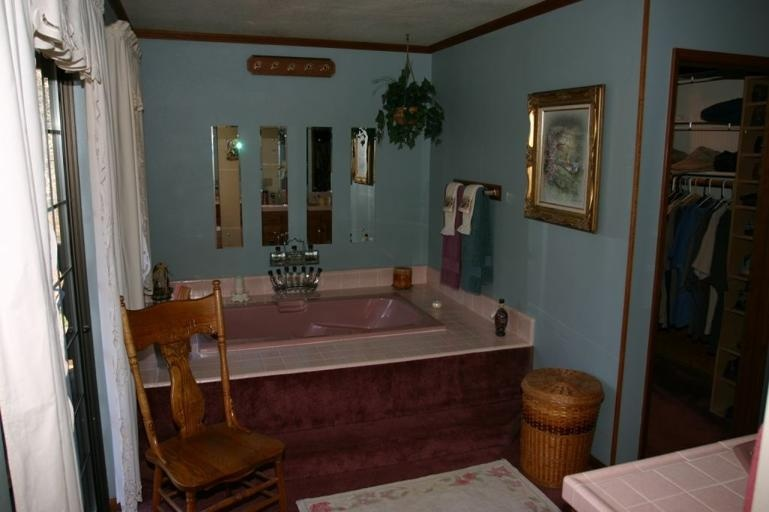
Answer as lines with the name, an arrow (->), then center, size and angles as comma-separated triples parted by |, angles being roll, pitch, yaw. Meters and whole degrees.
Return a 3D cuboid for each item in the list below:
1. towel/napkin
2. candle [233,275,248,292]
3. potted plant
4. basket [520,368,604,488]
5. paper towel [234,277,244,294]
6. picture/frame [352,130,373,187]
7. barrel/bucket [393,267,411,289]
towel/napkin -> 0.691, -0.172, 4.617 | 0.181, 0.863, 0.468 | -3, 12, -29
candle -> -1.308, 0.251, 4.960 | 0.124, 0.223, 0.124 | 2, 1, -26
potted plant -> 0.236, -1.452, 5.198 | 0.656, 0.858, 0.338 | -2, 12, 0
basket -> 1.117, 1.098, 3.721 | 0.597, 0.716, 0.615 | -3, 7, -26
paper towel -> -1.309, 0.260, 4.956 | 0.111, 0.156, 0.112 | -3, 5, -14
picture/frame -> -0.203, -0.958, 5.301 | 0.237, 0.528, 0.060 | -4, 12, -7
barrel/bucket -> 0.180, 0.217, 5.463 | 0.185, 0.166, 0.186 | 1, 4, 0
